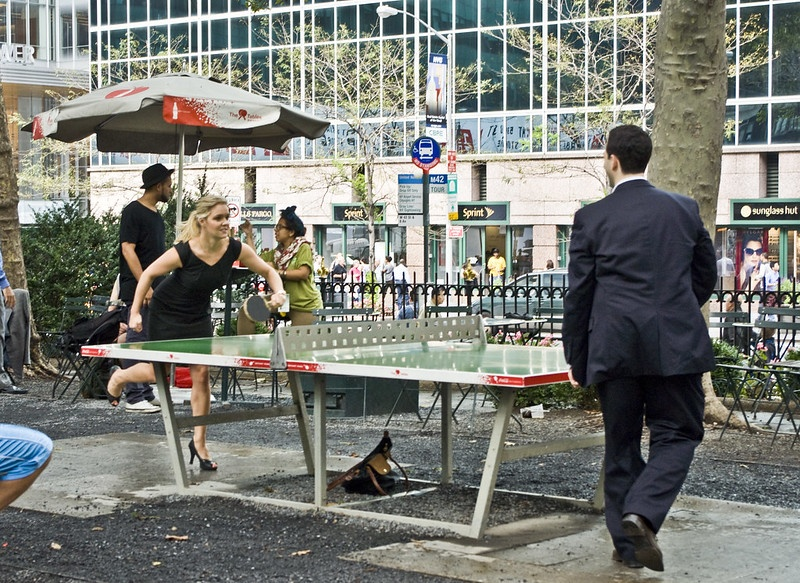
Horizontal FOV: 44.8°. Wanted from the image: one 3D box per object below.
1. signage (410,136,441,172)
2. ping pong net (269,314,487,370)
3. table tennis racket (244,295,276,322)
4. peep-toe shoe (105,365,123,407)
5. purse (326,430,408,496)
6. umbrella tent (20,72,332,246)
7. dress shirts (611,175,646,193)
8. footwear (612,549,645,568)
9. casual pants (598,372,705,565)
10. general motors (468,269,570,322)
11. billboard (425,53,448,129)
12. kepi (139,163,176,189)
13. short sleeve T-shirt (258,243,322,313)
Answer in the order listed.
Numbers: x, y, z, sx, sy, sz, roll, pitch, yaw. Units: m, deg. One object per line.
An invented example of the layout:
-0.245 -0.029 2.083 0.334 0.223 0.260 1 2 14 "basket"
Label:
0.418 -2.325 16.402 0.370 0.615 0.694 2 5 40 "signage"
-0.130 0.357 7.634 1.667 0.344 0.259 -3 8 -15 "ping pong net"
-1.213 0.142 8.296 0.241 0.223 0.269 -1 4 -11 "table tennis racket"
-3.153 1.041 10.692 0.099 0.707 0.179 -13 40 -21 "peep-toe shoe"
-0.231 1.397 7.947 0.486 0.539 0.740 -15 -34 22 "purse"
-2.779 -1.412 11.756 3.252 2.046 3.191 0 1 -25 "umbrella tent"
1.461 -0.701 6.207 0.154 0.064 0.128 -7 -3 33 "dress shirts"
1.428 1.660 6.071 0.066 0.078 0.181 -4 9 -28 "footwear"
1.577 1.081 5.997 0.649 1.149 0.515 -1 4 4 "casual pants"
2.135 0.079 20.611 2.641 1.410 1.544 1 -2 6 "general motors"
0.650 -3.501 17.142 0.345 1.436 0.016 3 30 5 "billboard"
-2.608 -1.234 10.350 0.305 0.283 0.416 -1 4 -10 "kepi"
-1.277 -0.145 11.647 0.699 0.908 0.874 0 -6 -25 "short sleeve T-shirt"
